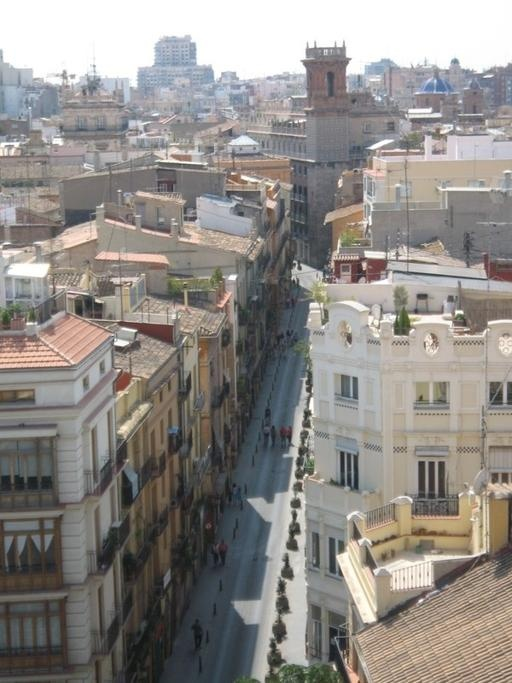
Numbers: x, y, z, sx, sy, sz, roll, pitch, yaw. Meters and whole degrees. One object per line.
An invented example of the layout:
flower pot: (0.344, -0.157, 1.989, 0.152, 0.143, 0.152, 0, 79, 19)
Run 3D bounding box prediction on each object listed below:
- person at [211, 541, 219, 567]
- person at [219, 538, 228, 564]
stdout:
person: (-1.875, 9.701, 69.396, 0.322, 1.121, 0.247, -2, -1, 2)
person: (-1.538, 9.606, 69.497, 0.300, 0.956, 1.042, -3, 9, 3)
